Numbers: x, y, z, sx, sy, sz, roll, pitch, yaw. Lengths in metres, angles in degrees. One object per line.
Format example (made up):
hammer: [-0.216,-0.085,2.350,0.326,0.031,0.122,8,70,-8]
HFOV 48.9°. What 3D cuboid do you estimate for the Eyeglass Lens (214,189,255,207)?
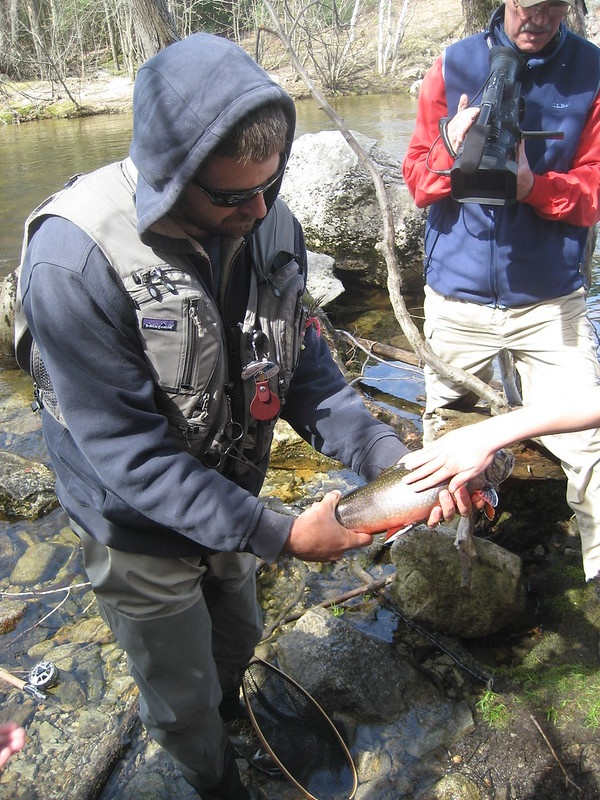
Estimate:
Eyeglass Lens: [-0.172,-0.516,1.685,0.063,0.017,0.058,-9,47,-12]

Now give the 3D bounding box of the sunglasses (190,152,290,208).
sunglasses: [-0.142,-0.590,1.775,0.156,0.120,0.313,3,22,20]

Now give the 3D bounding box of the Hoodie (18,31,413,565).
Hoodie: [-0.273,-0.242,1.870,0.578,1.429,0.895,16,31,43]

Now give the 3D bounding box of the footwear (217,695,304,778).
footwear: [-0.147,1.395,2.675,0.153,0.170,0.437,-39,74,-23]
